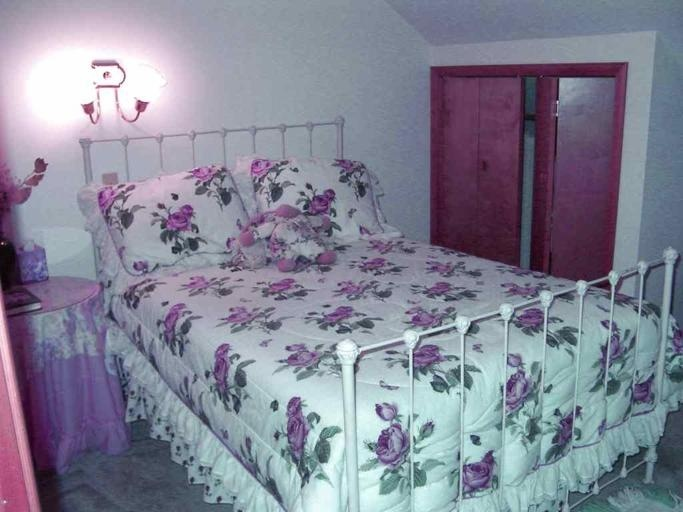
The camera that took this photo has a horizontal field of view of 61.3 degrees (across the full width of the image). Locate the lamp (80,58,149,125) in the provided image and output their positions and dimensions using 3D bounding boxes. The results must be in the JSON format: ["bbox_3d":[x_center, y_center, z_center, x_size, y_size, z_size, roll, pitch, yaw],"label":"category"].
[{"bbox_3d":[-1.323,-0.962,3.326,0.321,0.297,0.207,-18,39,-32],"label":"lamp"}]
